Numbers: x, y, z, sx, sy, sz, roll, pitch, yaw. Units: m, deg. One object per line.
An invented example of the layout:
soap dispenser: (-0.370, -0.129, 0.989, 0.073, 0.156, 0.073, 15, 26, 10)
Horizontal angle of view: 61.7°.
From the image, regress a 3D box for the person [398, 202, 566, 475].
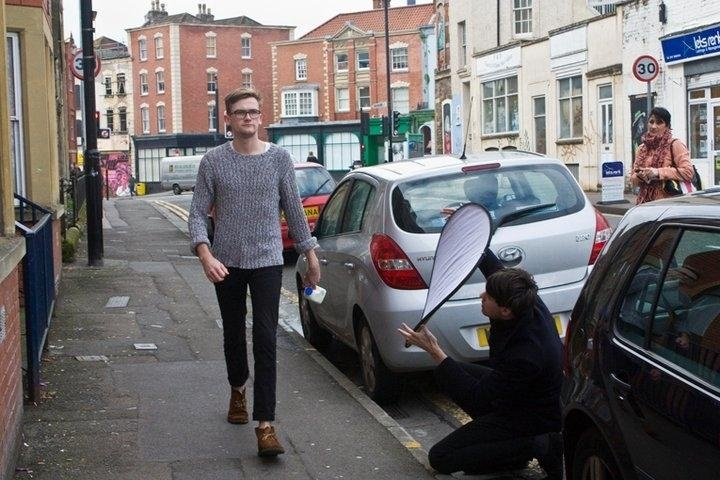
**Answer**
person: (0.802, 0.695, 3.943, 0.909, 1.855, 0.795, -1, 5, -32)

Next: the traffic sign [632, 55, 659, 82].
traffic sign: (7.586, -4.622, 16.074, 0.582, 0.666, 0.550, 3, 5, 11)

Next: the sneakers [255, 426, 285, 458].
sneakers: (-0.661, 1.463, 4.377, 0.216, 0.238, 0.196, 2, 5, 2)

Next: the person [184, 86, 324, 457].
person: (-0.831, 0.208, 4.501, 0.911, 2.667, 0.547, 3, 5, 9)

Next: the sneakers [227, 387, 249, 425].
sneakers: (-1.003, 1.381, 4.945, 0.128, 0.244, 0.324, 2, 1, -3)
